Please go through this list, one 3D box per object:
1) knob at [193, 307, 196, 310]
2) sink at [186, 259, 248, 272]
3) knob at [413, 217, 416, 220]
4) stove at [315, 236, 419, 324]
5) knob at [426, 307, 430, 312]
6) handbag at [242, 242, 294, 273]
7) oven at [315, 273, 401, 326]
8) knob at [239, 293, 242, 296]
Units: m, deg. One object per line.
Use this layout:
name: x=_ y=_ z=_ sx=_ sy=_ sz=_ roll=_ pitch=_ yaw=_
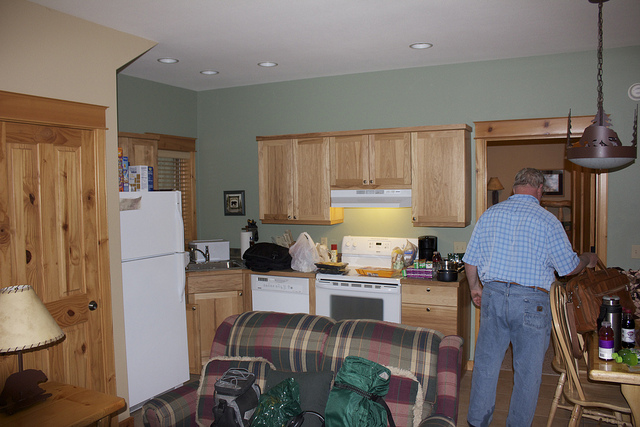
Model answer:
knob: x=-1.400 y=1.046 z=5.284 sx=0.027 sy=0.023 sz=0.008 roll=-3 pitch=4 yaw=-20
sink: x=-1.224 y=0.586 z=5.566 sx=0.681 sy=0.118 sz=0.407 roll=-3 pitch=3 yaw=-17
knob: x=1.040 y=0.057 z=5.257 sx=0.030 sy=0.026 sz=0.016 roll=1 pitch=6 yaw=22
stove: x=0.492 y=0.709 z=5.415 sx=0.974 sy=0.833 sz=0.753 roll=-1 pitch=4 yaw=19
knob: x=1.113 y=0.984 z=4.907 sx=0.030 sy=0.035 sz=0.030 roll=-8 pitch=27 yaw=14
handbag: x=-0.665 y=0.547 z=5.678 sx=0.811 sy=0.289 sz=0.622 roll=7 pitch=1 yaw=-16
oven: x=0.438 y=1.050 z=5.408 sx=0.947 sy=0.816 sz=0.623 roll=3 pitch=8 yaw=11
knob: x=-0.922 y=0.929 z=5.501 sx=0.008 sy=0.033 sz=0.031 roll=2 pitch=5 yaw=45
